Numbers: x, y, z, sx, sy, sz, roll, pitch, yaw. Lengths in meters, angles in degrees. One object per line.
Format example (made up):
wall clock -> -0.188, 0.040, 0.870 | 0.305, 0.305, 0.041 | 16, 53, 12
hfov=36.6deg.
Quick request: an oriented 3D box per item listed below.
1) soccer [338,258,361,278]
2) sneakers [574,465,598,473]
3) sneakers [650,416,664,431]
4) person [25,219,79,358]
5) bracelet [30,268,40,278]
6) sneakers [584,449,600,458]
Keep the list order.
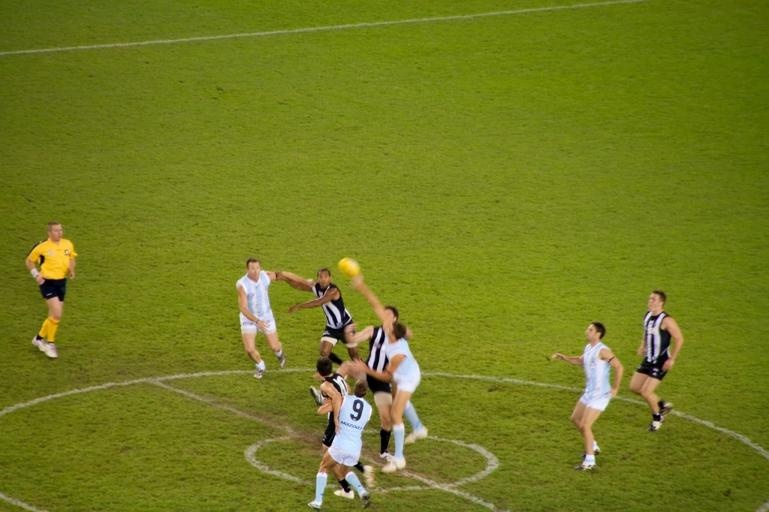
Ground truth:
soccer -> -0.688, 0.241, 26.805 | 0.247, 0.480, 0.482 | -57, 21, -18
sneakers -> 4.702, 4.960, 27.062 | 0.488, 0.159, 0.154 | 4, 0, 0
sneakers -> 6.677, 4.103, 28.398 | 0.454, 0.218, 0.166 | -50, 22, -23
person -> -8.596, 0.814, 30.007 | 1.151, 3.511, 1.518 | 0, 24, -13
bracelet -> -8.881, 0.434, 29.504 | 0.274, 0.225, 0.310 | 9, 11, -16
sneakers -> 4.991, 4.638, 27.447 | 0.124, 0.141, 0.371 | -31, -32, 35
